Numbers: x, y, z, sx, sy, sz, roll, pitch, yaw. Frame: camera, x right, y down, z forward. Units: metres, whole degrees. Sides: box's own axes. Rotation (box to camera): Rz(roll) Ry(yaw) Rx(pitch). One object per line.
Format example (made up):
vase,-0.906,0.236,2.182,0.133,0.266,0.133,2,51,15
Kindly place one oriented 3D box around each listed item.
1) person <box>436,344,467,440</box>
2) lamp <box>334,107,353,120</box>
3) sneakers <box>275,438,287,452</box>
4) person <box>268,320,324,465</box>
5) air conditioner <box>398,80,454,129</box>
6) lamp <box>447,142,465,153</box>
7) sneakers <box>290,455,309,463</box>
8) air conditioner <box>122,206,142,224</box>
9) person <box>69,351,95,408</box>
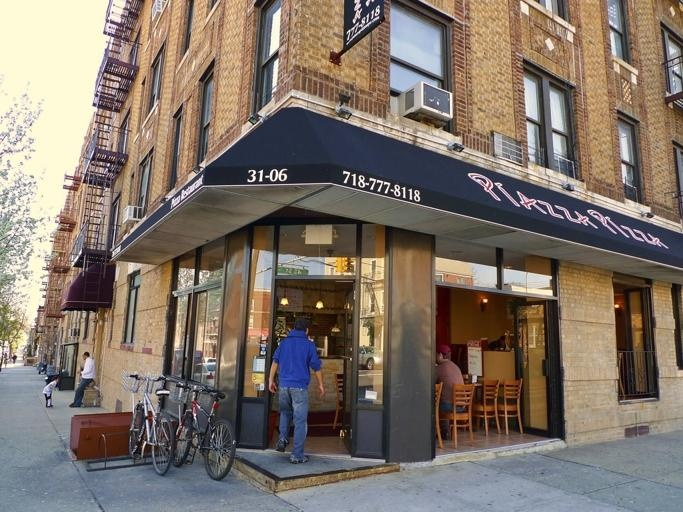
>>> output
person,2.354,3.051,11.766,0.552,1.997,0.956,2,1,11
lamp,0.027,-2.514,9.692,0.337,0.181,0.318,5,-16,-19
sneakers,-1.106,3.524,9.996,0.123,0.160,0.372,2,-4,-7
person,-0.814,2.456,9.955,0.667,2.451,0.882,0,2,-35
air conditioner,1.683,-2.942,10.552,0.902,0.620,0.672,9,-11,-39
lamp,2.336,-2.177,10.687,0.448,0.189,0.251,0,2,-35
sneakers,-0.736,3.650,9.646,0.362,0.160,0.121,2,-2,-39
air conditioner,-6.234,-1.252,16.220,0.472,0.635,0.844,5,-11,-29
person,-9.028,4.329,18.762,0.664,1.788,1.548,1,2,-17
